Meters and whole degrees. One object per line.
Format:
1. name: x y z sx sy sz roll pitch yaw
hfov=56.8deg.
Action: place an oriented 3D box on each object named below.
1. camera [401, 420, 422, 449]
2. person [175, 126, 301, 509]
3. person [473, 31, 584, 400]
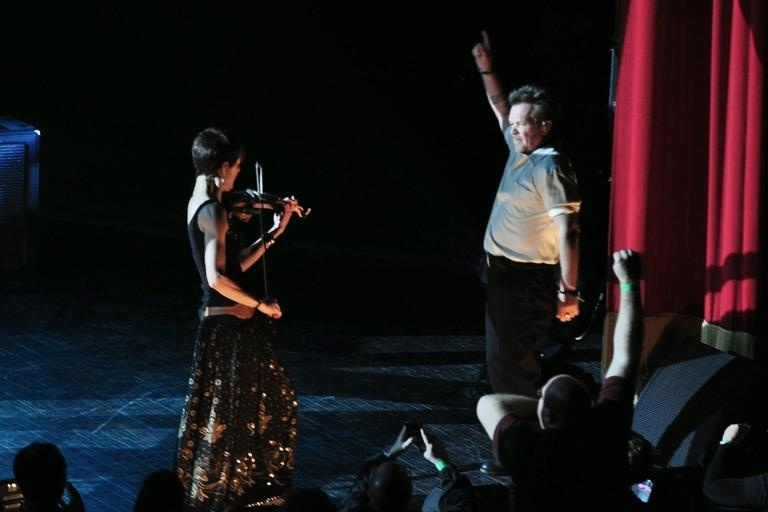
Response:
1. camera: 0.124 0.763 3.031 0.088 0.094 0.027 -2 0 3
2. person: -0.755 0.332 3.735 0.617 1.943 0.478 2 -2 -26
3. person: 0.787 -0.014 4.194 0.383 2.333 1.017 -11 25 -24
